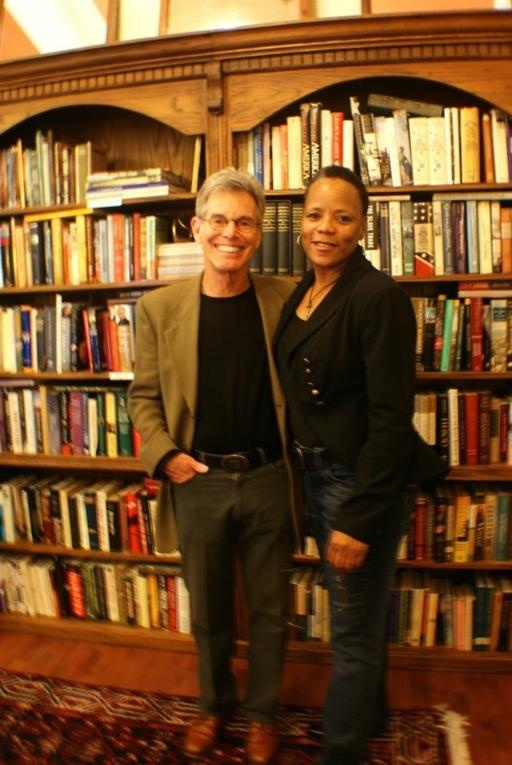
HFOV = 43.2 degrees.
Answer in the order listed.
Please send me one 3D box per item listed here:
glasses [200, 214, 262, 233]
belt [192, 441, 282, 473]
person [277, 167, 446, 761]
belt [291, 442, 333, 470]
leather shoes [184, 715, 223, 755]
[{"bbox_3d":[-0.073,-0.444,1.817,0.152,0.049,0.065,0,7,-5],"label":"glasses"},{"bbox_3d":[-0.051,0.216,1.875,0.252,0.070,0.090,-1,7,-6],"label":"belt"},{"bbox_3d":[0.230,0.218,1.658,0.264,1.511,0.435,-6,9,-41],"label":"person"},{"bbox_3d":[0.150,0.187,1.682,0.090,0.081,0.054,-2,7,22],"label":"belt"},{"bbox_3d":[-0.161,1.022,1.896,0.052,0.054,0.139,4,-4,8],"label":"leather shoes"}]
